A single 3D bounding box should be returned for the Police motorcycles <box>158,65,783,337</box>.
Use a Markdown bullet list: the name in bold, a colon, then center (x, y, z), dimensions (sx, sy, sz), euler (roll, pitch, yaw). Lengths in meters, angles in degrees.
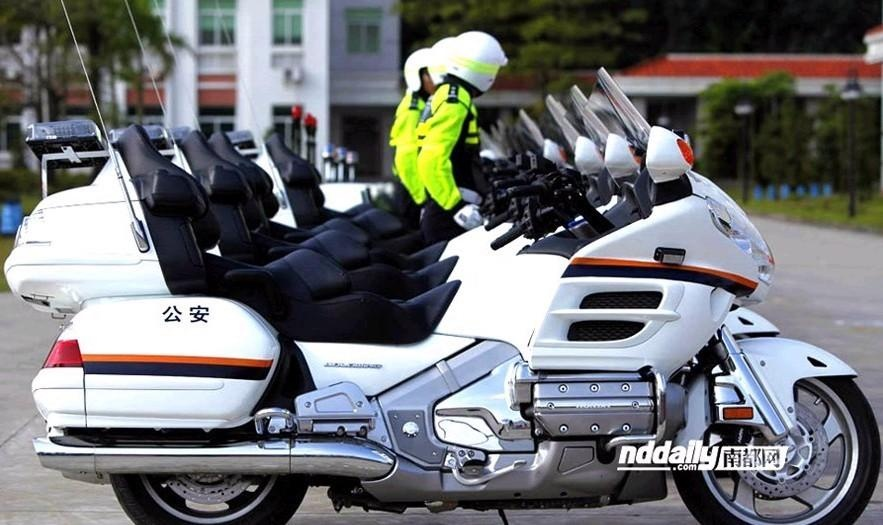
- **Police motorcycles**: center (0.221, -0.214, 10.620), dimensions (4.257, 2.143, 1.744), euler (-1, 4, -3)
